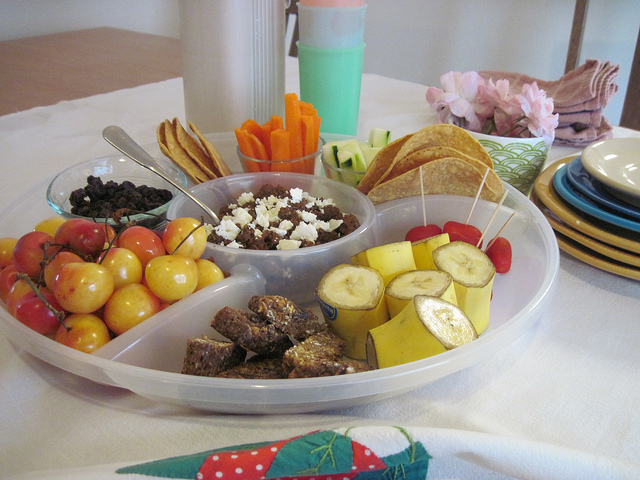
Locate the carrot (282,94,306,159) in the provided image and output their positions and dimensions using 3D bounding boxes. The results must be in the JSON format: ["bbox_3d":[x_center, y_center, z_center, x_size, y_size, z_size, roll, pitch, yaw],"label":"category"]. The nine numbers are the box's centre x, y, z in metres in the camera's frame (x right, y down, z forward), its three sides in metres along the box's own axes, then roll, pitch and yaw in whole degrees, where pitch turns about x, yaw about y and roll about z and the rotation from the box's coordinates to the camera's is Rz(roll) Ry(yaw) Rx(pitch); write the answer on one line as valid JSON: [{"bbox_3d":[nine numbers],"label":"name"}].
[{"bbox_3d":[-0.063,-0.269,1.232,0.049,0.154,0.050,14,25,28],"label":"carrot"}]

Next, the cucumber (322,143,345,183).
[{"bbox_3d":[0.030,-0.186,1.237,0.022,0.083,0.077,-8,-8,1],"label":"cucumber"}]

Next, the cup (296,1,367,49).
[{"bbox_3d":[0.031,-0.559,1.371,0.177,0.100,0.093,0,37,0],"label":"cup"}]

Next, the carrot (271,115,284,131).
[{"bbox_3d":[-0.095,-0.279,1.255,0.031,0.030,0.030,8,27,23],"label":"carrot"}]

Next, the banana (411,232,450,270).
[{"bbox_3d":[0.199,0.019,0.979,0.071,0.069,0.064,-7,6,5],"label":"banana"}]

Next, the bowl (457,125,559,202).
[{"bbox_3d":[0.428,-0.182,1.252,0.221,0.163,0.199,10,29,17],"label":"bowl"}]

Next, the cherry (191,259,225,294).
[{"bbox_3d":[-0.207,0.065,0.971,0.053,0.060,0.052,-4,7,-4],"label":"cherry"}]

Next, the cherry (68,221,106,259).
[{"bbox_3d":[-0.423,0.004,0.942,0.066,0.062,0.077,3,55,-35],"label":"cherry"}]

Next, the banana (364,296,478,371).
[{"bbox_3d":[0.168,0.147,0.880,0.185,0.124,0.143,-15,-10,8],"label":"banana"}]

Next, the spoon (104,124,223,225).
[{"bbox_3d":[-0.345,-0.139,1.166,0.344,0.048,0.056,42,44,6],"label":"spoon"}]

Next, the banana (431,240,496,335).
[{"bbox_3d":[0.237,0.080,0.958,0.108,0.147,0.125,6,9,7],"label":"banana"}]

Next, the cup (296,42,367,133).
[{"bbox_3d":[0.010,-0.471,1.439,0.142,0.205,0.149,5,20,-2],"label":"cup"}]

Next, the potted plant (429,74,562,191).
[{"bbox_3d":[0.448,-0.257,1.337,0.266,0.278,0.284,-14,32,-31],"label":"potted plant"}]

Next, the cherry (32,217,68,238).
[{"bbox_3d":[-0.523,-0.021,0.995,0.042,0.027,0.050,-11,0,-18],"label":"cherry"}]

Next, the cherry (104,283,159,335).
[{"bbox_3d":[-0.320,0.116,0.923,0.085,0.081,0.078,-12,35,-8],"label":"cherry"}]

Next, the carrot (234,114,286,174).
[{"bbox_3d":[-0.141,-0.225,1.244,0.121,0.139,0.114,-18,32,-24],"label":"carrot"}]

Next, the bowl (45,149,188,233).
[{"bbox_3d":[-0.465,-0.119,1.249,0.313,0.117,0.322,-10,-3,-1],"label":"bowl"}]

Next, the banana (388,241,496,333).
[{"bbox_3d":[0.226,0.081,0.957,0.201,0.139,0.119,-34,45,-14],"label":"banana"}]

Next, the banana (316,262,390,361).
[{"bbox_3d":[0.066,0.130,0.970,0.146,0.154,0.149,-6,42,4],"label":"banana"}]
